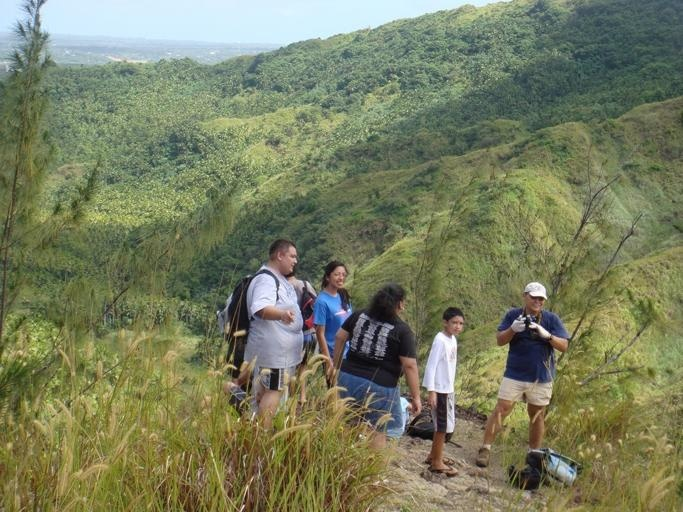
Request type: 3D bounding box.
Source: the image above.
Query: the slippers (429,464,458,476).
[{"bbox_3d":[0.872,1.833,4.467,0.183,0.057,0.108,-1,0,7],"label":"slippers"}]

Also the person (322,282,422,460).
[{"bbox_3d":[0.294,1.079,4.442,0.737,1.700,0.765,12,1,15],"label":"person"}]

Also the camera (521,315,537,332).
[{"bbox_3d":[1.698,0.605,4.728,0.089,0.137,0.047,2,4,8],"label":"camera"}]

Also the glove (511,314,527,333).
[{"bbox_3d":[1.620,0.610,4.767,0.102,0.063,0.141,-5,20,42],"label":"glove"}]

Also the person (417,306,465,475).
[{"bbox_3d":[0.921,1.176,4.570,0.393,1.116,0.409,9,5,18],"label":"person"}]

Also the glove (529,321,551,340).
[{"bbox_3d":[1.805,0.678,4.722,0.199,0.135,0.140,5,6,-38],"label":"glove"}]

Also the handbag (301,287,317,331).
[{"bbox_3d":[-0.337,0.505,5.007,0.175,0.364,0.254,-5,-5,11],"label":"handbag"}]

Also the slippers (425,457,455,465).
[{"bbox_3d":[0.867,1.834,4.653,0.200,0.061,0.105,-7,0,12],"label":"slippers"}]

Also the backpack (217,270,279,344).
[{"bbox_3d":[-0.735,0.367,4.300,0.572,0.633,0.367,6,1,16],"label":"backpack"}]

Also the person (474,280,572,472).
[{"bbox_3d":[1.717,1.147,4.887,0.667,1.526,0.749,9,5,8],"label":"person"}]

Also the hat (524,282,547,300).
[{"bbox_3d":[1.813,0.327,4.917,0.172,0.151,0.251,13,-6,4],"label":"hat"}]
